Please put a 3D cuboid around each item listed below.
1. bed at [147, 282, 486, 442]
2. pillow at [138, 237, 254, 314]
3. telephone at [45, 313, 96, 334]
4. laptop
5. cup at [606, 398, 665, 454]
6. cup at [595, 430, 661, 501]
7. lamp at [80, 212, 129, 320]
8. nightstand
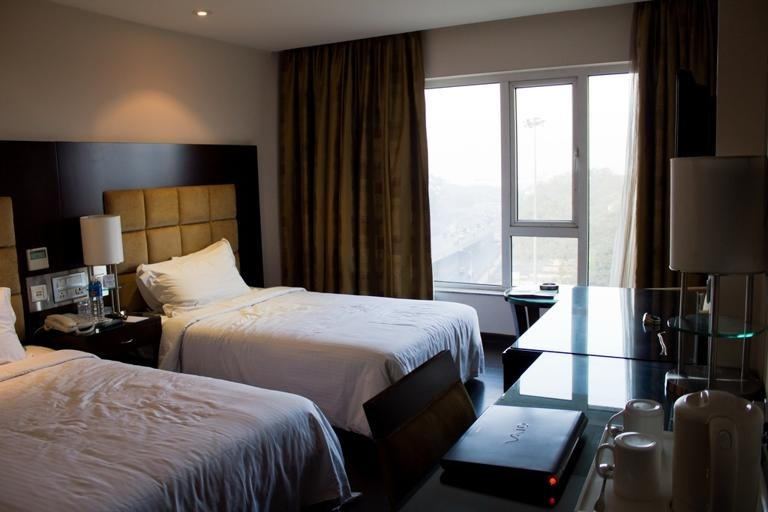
[{"bbox_3d":[-0.556,0.627,4.017,1.456,0.448,1.251,4,10,26],"label":"bed"},{"bbox_3d":[-1.627,0.181,4.846,0.538,0.401,1.036,14,19,16],"label":"pillow"},{"bbox_3d":[-2.259,0.482,3.971,0.197,0.071,0.202,5,6,26],"label":"telephone"},{"bbox_3d":[0.467,0.647,1.928,0.245,0.071,0.302,3,9,22],"label":"laptop"},{"bbox_3d":[0.836,0.562,1.905,0.231,0.187,0.136,-3,6,27],"label":"cup"},{"bbox_3d":[0.750,0.643,1.735,0.216,0.195,0.140,-3,2,22],"label":"cup"},{"bbox_3d":[-2.158,0.079,4.253,0.275,0.794,0.345,-7,8,-29],"label":"lamp"},{"bbox_3d":[-2.098,0.597,4.113,0.502,0.384,0.498,5,9,24],"label":"nightstand"}]
